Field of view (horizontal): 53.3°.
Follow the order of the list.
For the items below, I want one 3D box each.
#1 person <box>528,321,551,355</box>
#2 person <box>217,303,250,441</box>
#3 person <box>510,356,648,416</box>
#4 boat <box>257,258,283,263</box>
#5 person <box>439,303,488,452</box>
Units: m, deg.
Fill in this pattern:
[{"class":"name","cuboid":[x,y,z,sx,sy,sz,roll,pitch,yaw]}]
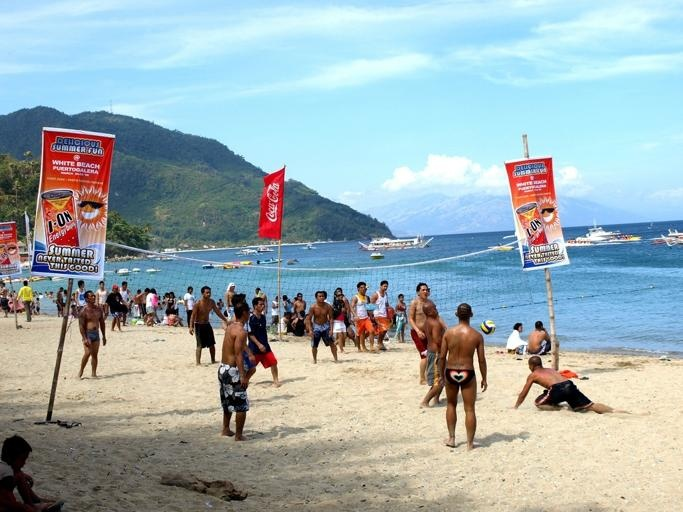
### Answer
[{"class":"person","cuboid":[4.518,1.857,15.472,0.505,0.856,0.971,1,6,16]},{"class":"person","cuboid":[-1.598,1.719,10.121,0.469,2.073,0.886,-2,6,-10]},{"class":"person","cuboid":[3.688,2.117,10.890,1.749,0.733,0.802,5,8,43]},{"class":"boat","cuboid":[-8.890,0.545,82.064,2.766,0.800,0.830,-4,1,3]},{"class":"person","cuboid":[1.741,1.725,9.733,0.667,2.091,0.623,2,7,28]}]
